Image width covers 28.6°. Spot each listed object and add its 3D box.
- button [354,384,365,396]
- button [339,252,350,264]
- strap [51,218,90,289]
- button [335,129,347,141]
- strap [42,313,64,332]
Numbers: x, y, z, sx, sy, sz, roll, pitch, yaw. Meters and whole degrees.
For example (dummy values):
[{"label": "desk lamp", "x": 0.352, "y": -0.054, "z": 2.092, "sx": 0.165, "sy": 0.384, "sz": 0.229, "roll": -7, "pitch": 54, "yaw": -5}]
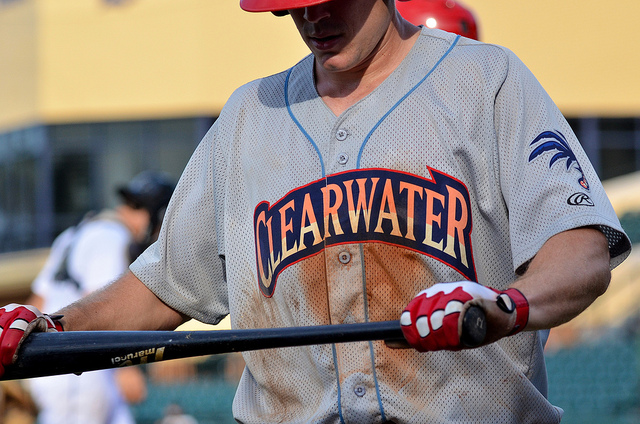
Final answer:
[{"label": "button", "x": 0.302, "y": 1.365, "z": 9.631, "sx": 0.078, "sy": 0.038, "sz": 0.076, "roll": -9, "pitch": 60, "yaw": 2}, {"label": "button", "x": 0.187, "y": 0.347, "z": 9.666, "sx": 0.078, "sy": 0.039, "sz": 0.069, "roll": -2, "pitch": 60, "yaw": 6}, {"label": "strap", "x": -2.617, "y": 0.456, "z": 13.136, "sx": 0.348, "sy": 0.269, "sz": 0.814, "roll": -3, "pitch": 61, "yaw": 5}, {"label": "button", "x": 0.166, "y": -0.603, "z": 9.746, "sx": 0.085, "sy": 0.024, "sz": 0.080, "roll": -7, "pitch": 61, "yaw": 3}, {"label": "strap", "x": -2.056, "y": 0.865, "z": 9.746, "sx": 0.105, "sy": 0.115, "sz": 0.173, "roll": 1, "pitch": 77, "yaw": -27}]
